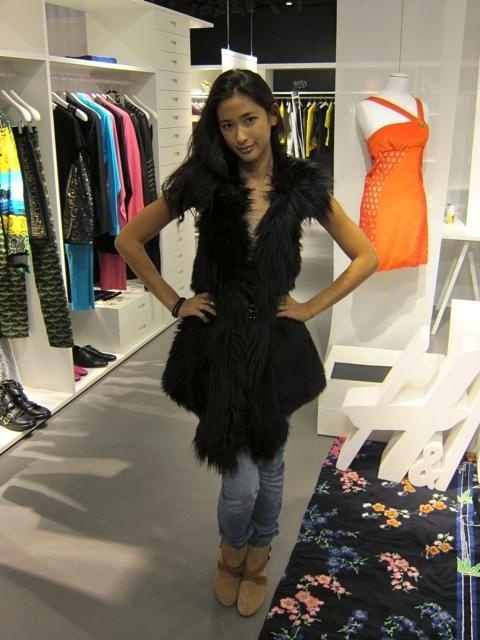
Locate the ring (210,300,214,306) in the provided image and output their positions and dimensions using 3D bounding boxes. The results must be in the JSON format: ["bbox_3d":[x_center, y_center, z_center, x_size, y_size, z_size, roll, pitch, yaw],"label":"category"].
[{"bbox_3d":[-0.062,-0.039,1.019,0.008,0.009,0.010,5,28,2],"label":"ring"}]

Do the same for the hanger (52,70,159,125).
[{"bbox_3d":[-1.005,-1.656,3.384,0.048,0.238,0.994,5,21,35],"label":"hanger"}]

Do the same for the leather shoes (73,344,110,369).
[{"bbox_3d":[-1.040,0.263,3.333,0.336,0.121,0.114,9,15,-7],"label":"leather shoes"}]

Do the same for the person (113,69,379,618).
[{"bbox_3d":[0.042,0.081,1.133,0.588,1.208,0.361,-2,13,-10],"label":"person"}]

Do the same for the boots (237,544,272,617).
[{"bbox_3d":[0.048,0.759,1.379,0.069,0.144,0.212,6,6,13],"label":"boots"}]

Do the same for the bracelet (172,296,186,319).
[{"bbox_3d":[-0.153,-0.035,1.131,0.016,0.046,0.046,23,-21,-4],"label":"bracelet"}]

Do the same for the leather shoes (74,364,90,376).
[{"bbox_3d":[-1.079,0.345,3.124,0.117,0.048,0.041,16,31,41],"label":"leather shoes"}]
